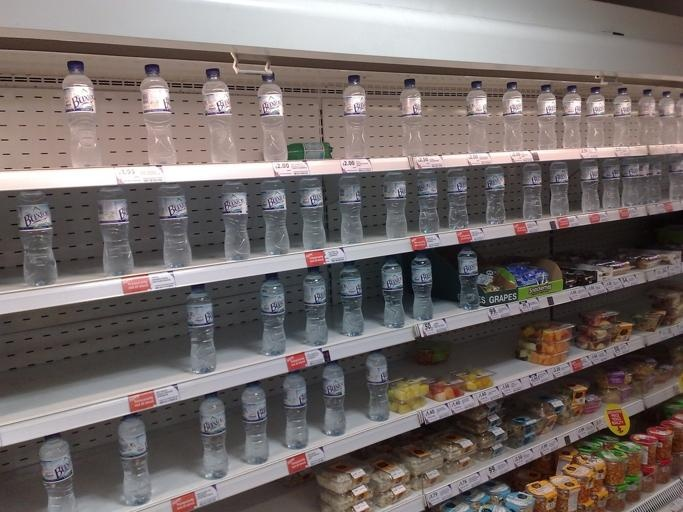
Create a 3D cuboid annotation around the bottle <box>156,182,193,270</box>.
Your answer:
[{"bbox_3d":[-0.784,-0.143,2.309,0.136,0.382,0.577,-8,16,-20],"label":"bottle"}]
